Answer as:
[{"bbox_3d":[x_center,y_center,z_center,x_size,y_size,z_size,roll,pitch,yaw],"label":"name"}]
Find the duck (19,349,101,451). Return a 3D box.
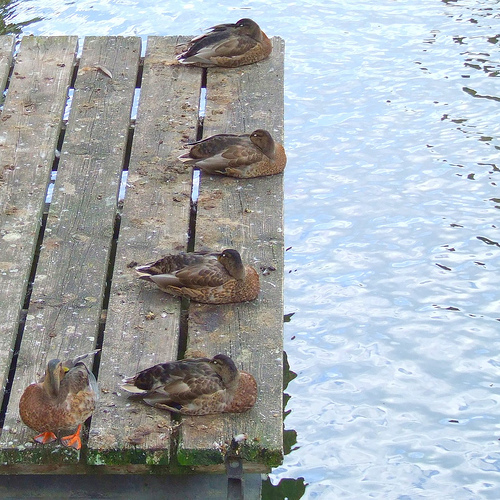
[{"bbox_3d":[-0.831,0.653,3.415,0.284,0.420,0.368,14,27,24],"label":"duck"}]

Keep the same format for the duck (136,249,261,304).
[{"bbox_3d":[-0.229,0.108,4.000,0.681,0.241,0.300,9,37,20],"label":"duck"}]

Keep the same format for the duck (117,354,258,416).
[{"bbox_3d":[-0.279,0.594,3.481,0.673,0.206,0.232,4,33,-8],"label":"duck"}]

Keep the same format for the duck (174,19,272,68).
[{"bbox_3d":[-0.200,-1.540,5.662,0.368,0.351,0.572,19,27,35],"label":"duck"}]

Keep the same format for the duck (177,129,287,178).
[{"bbox_3d":[-0.126,-0.608,4.748,0.657,0.190,0.311,4,25,0],"label":"duck"}]
